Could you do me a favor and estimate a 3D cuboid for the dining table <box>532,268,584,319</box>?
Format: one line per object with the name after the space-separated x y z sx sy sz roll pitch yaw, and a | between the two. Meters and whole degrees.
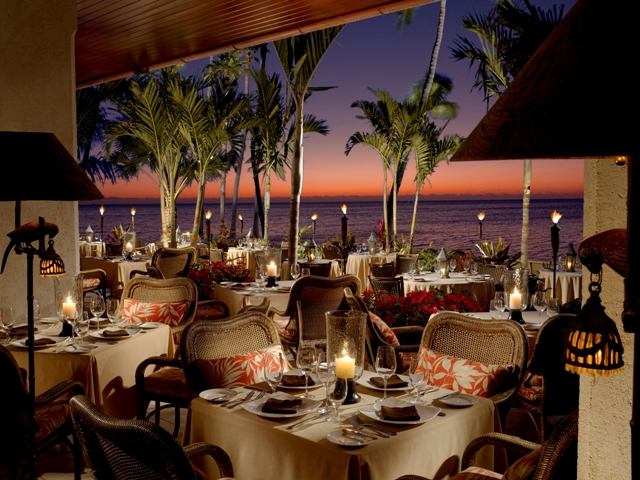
2.656 0.586 5.875 0.541 0.628 0.566 -2 -4 41 | dining table
